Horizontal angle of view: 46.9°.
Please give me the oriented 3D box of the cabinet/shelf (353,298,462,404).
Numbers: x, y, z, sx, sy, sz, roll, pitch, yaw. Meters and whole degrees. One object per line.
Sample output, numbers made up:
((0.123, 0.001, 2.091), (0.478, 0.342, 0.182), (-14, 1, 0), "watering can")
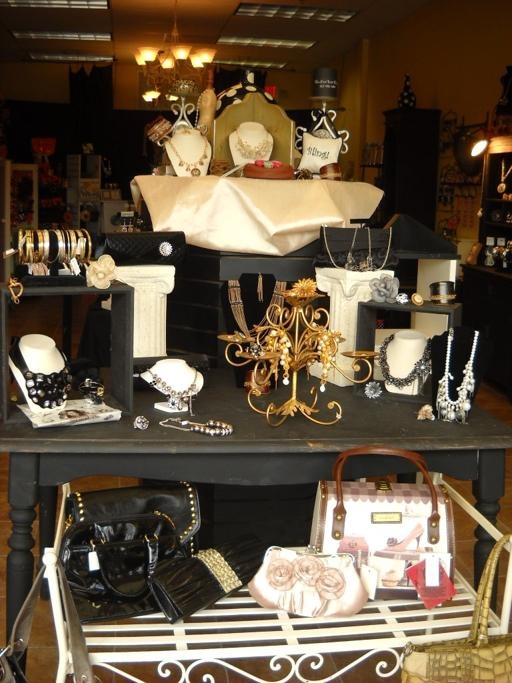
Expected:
((0.441, 0.036, 1.728), (0.361, 0.304, 0.156), (1, 0, 8), "cabinet/shelf")

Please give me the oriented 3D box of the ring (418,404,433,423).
((0.439, 0.189, 1.533), (0.038, 0.035, 0.018), (2, -14, -15), "ring")

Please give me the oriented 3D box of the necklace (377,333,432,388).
((0.436, 0.040, 1.723), (0.146, 0.170, 0.082), (-3, 5, 12), "necklace")

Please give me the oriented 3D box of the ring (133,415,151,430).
((-0.263, 0.191, 1.388), (0.031, 0.029, 0.011), (0, -20, -16), "ring")

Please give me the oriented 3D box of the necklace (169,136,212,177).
((-0.309, -0.855, 2.691), (0.201, 0.207, 0.251), (1, 13, -1), "necklace")

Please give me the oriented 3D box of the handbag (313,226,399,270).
((0.338, -0.311, 2.030), (0.222, 0.082, 0.214), (2, 25, 5), "handbag")

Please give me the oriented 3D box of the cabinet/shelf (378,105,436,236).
((1.812, -2.105, 7.196), (0.556, 1.428, 0.743), (-8, 16, -34), "cabinet/shelf")

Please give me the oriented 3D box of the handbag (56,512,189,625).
((-0.282, 0.477, 1.265), (0.180, 0.167, 0.063), (-4, -17, -36), "handbag")

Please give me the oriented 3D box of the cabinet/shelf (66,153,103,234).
((-3.185, -2.742, 10.907), (0.842, 1.389, 0.525), (3, 14, 9), "cabinet/shelf")

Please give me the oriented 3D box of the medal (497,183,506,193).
((2.143, -1.338, 5.161), (0.019, 0.075, 0.079), (3, -4, -23), "medal")

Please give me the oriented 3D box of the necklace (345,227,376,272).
((0.358, -0.316, 2.012), (0.092, 0.127, 0.321), (4, 13, 11), "necklace")

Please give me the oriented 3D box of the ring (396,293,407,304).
((0.434, -0.128, 1.775), (0.034, 0.031, 0.033), (-1, 7, 0), "ring")

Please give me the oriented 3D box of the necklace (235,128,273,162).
((-0.039, -0.952, 2.859), (0.197, 0.192, 0.208), (-2, 21, -12), "necklace")

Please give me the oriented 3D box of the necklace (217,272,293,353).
((-0.030, -0.114, 2.128), (0.234, 0.269, 0.072), (-6, 15, -7), "necklace")

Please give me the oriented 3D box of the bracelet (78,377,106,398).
((-0.436, 0.124, 1.558), (0.060, 0.054, 0.064), (1, -6, 13), "bracelet")

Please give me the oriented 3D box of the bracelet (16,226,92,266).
((-0.511, -0.239, 1.498), (0.182, 0.088, 0.109), (-2, 14, -16), "bracelet")
